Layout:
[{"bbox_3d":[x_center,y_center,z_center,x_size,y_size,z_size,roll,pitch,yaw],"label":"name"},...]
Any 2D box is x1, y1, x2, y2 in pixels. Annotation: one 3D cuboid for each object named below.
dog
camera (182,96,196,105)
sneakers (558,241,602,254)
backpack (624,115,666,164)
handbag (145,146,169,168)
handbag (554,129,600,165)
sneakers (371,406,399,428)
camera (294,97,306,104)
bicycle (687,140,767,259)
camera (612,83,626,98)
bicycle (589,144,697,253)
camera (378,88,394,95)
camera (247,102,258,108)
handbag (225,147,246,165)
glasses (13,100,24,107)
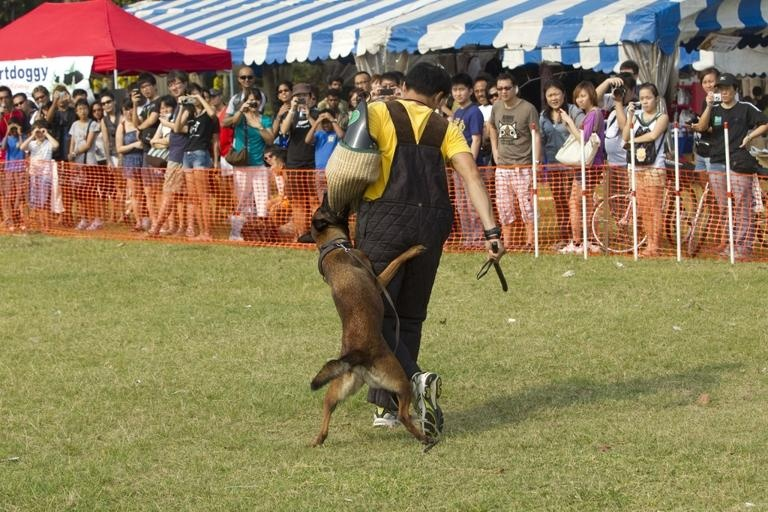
[{"bbox_3d":[-0.155,0.632,9.673,0.931,2.384,1.397,-13,-36,18],"label":"dog"},{"bbox_3d":[-2.817,-2.249,15.725,0.157,0.122,0.143,-5,14,-14],"label":"camera"},{"bbox_3d":[2.673,-0.106,14.585,0.338,0.131,0.224,-2,0,-18],"label":"sneakers"},{"bbox_3d":[3.419,-1.519,14.175,0.483,0.695,0.334,2,14,14],"label":"backpack"},{"bbox_3d":[-3.368,-1.463,16.185,0.309,0.303,0.112,8,-3,12],"label":"handbag"},{"bbox_3d":[2.600,-1.437,14.355,0.200,0.444,0.398,14,14,-47],"label":"handbag"},{"bbox_3d":[0.024,1.469,9.958,0.119,0.146,0.307,5,10,23],"label":"sneakers"},{"bbox_3d":[-1.204,-2.236,15.620,0.124,0.055,0.120,0,-13,-11],"label":"camera"},{"bbox_3d":[4.526,-0.771,14.224,0.939,1.507,1.026,5,15,24],"label":"bicycle"},{"bbox_3d":[3.075,-2.140,14.137,0.185,0.173,0.135,7,17,6],"label":"camera"},{"bbox_3d":[3.421,-0.706,14.366,1.617,1.407,0.428,-9,-3,12],"label":"bicycle"},{"bbox_3d":[0.044,-2.086,13.787,0.215,0.057,0.213,1,11,2],"label":"camera"},{"bbox_3d":[-1.878,-2.194,15.711,0.080,0.079,0.137,-2,12,-13],"label":"camera"},{"bbox_3d":[-2.129,-1.411,15.842,0.393,0.284,0.208,-1,-9,15],"label":"handbag"},{"bbox_3d":[-6.077,-2.527,18.002,0.106,0.043,0.109,-1,-25,-2],"label":"glasses"}]
